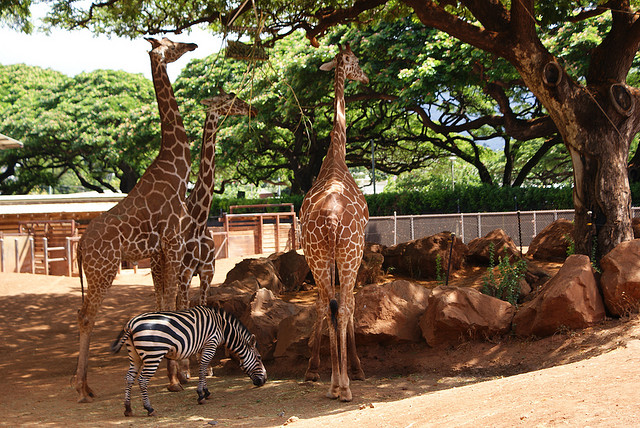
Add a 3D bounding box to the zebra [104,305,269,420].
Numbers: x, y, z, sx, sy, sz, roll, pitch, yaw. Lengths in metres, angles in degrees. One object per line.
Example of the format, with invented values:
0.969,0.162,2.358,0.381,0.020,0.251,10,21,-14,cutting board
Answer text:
-2.942,3.192,16.308,3.731,2.275,1.010,2,-3,-35,zebra
